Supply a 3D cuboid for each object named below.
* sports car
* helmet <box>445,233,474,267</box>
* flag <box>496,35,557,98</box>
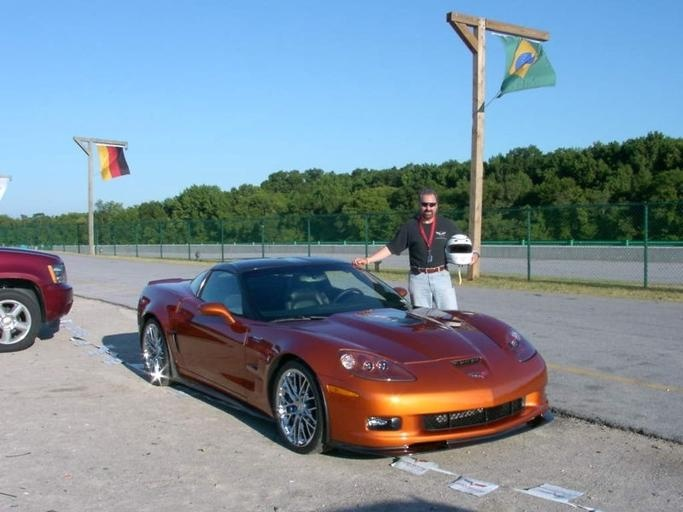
[{"bbox_3d":[-0.383,0.749,5.499,1.854,1.050,3.588,-1,1,-39],"label":"sports car"},{"bbox_3d":[1.530,-0.156,6.840,0.293,0.302,0.385,1,3,-2],"label":"helmet"},{"bbox_3d":[6.099,-5.935,17.403,1.528,1.939,1.358,1,4,18],"label":"flag"}]
